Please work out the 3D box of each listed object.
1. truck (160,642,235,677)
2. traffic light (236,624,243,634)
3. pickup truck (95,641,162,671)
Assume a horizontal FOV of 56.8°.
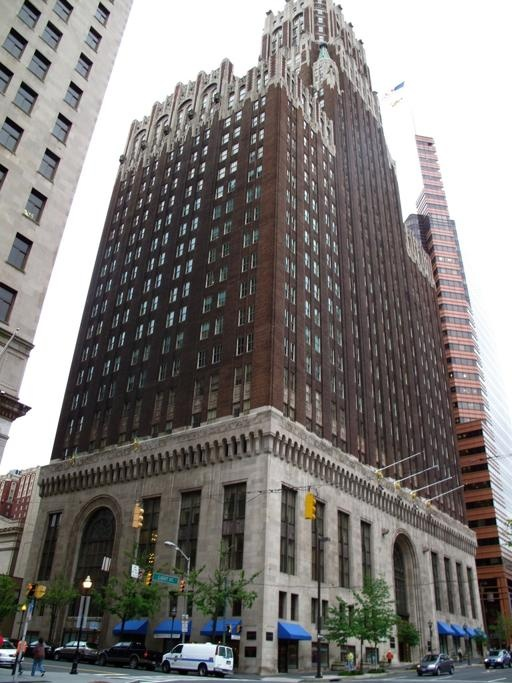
[{"bbox_3d":[-3.223,17.399,26.534,4.014,1.660,2.382,-15,-62,25],"label":"truck"},{"bbox_3d":[-1.139,19.799,32.660,0.115,0.554,0.370,-21,-36,38],"label":"traffic light"},{"bbox_3d":[-8.243,20.421,30.822,1.466,1.394,6.021,26,-37,-35],"label":"pickup truck"}]
